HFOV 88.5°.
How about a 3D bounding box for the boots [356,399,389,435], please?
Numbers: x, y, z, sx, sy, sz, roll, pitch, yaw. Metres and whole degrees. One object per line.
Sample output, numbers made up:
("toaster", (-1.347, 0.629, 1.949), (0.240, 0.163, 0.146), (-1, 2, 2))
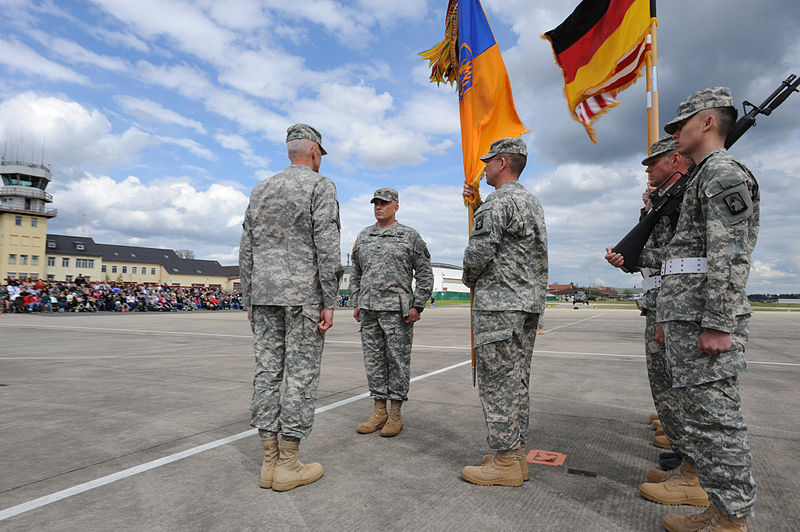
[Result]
("boots", (-0.286, 1.623, 4.419), (0.179, 0.265, 0.456), (1, -3, 36))

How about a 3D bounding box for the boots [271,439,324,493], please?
("boots", (-0.836, 1.614, 3.373), (0.234, 0.344, 0.551), (-11, -21, 27))

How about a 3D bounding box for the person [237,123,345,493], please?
("person", (-0.920, 0.259, 3.434), (0.871, 2.956, 0.496), (0, -2, -5))

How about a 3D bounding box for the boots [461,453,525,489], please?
("boots", (0.769, 1.631, 3.294), (0.573, 0.315, 0.224), (3, -13, 8))

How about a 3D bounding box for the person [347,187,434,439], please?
("person", (-0.109, 0.440, 4.611), (0.937, 2.642, 0.841), (0, -2, 2))

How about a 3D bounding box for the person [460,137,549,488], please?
("person", (0.870, 0.312, 3.445), (0.679, 2.875, 0.642), (0, -2, 16))

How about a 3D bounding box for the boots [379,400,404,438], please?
("boots", (-0.072, 1.601, 4.309), (0.179, 0.247, 0.450), (2, 3, 11))
